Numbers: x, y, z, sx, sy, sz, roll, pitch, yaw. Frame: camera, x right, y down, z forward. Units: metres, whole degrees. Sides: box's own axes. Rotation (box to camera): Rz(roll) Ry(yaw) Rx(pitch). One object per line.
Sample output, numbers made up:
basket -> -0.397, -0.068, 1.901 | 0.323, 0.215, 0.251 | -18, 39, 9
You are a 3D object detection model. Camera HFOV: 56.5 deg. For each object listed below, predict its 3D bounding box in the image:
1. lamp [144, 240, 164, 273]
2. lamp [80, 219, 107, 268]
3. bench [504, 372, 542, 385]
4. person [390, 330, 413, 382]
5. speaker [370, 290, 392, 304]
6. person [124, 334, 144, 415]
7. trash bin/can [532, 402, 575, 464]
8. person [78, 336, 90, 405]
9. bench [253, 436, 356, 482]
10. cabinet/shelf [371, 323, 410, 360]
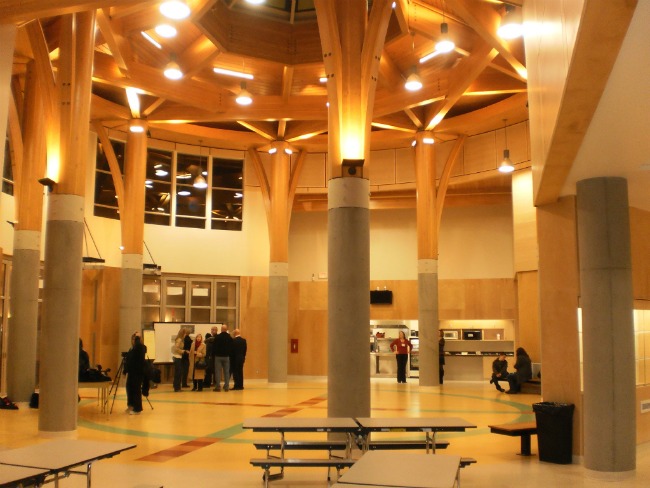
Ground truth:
lamp -> -6.445, 0.434, 22.633 | 0.646, 1.418, 1.991 | 4, -11, -17
lamp -> -7.845, -0.070, 20.063 | 1.024, 1.636, 1.089 | -6, 0, -11
bench -> 6.670, 4.526, 20.044 | 1.239, 0.654, 0.737 | 5, -12, -22
person -> 2.884, 4.205, 22.524 | 0.736, 1.893, 1.182 | -1, -11, 7
speaker -> 2.432, 2.192, 25.609 | 0.923, 0.672, 0.263 | 1, -10, 0
person -> -4.704, 3.172, 14.985 | 0.493, 1.916, 0.631 | 4, -11, -18
trash bin/can -> 4.080, 3.361, 10.771 | 0.644, 0.966, 0.681 | 13, -17, -37
person -> -6.065, 2.958, 15.315 | 0.263, 0.991, 0.922 | 5, -11, -21
bench -> -0.284, 3.246, 9.162 | 1.139, 0.284, 1.031 | 1, -8, 0
cabinet/shelf -> 3.109, 3.979, 25.397 | 1.728, 1.660, 0.954 | 10, 5, -30
